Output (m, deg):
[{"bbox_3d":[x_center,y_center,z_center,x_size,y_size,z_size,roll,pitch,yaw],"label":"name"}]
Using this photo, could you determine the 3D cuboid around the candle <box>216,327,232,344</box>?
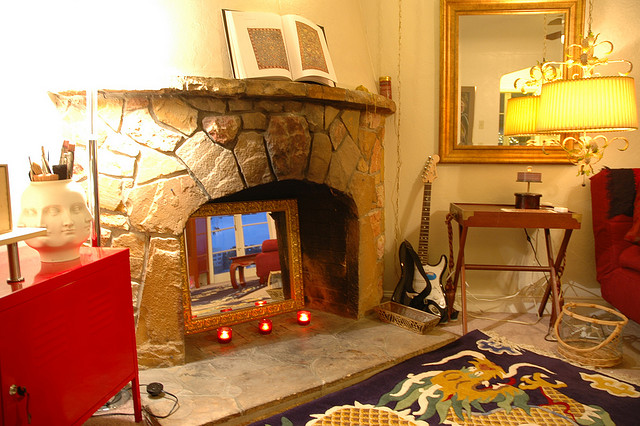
[{"bbox_3d":[-0.640,0.815,2.856,0.103,0.083,0.095,0,8,-4],"label":"candle"}]

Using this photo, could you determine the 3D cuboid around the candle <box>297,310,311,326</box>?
[{"bbox_3d":[-0.122,0.762,3.079,0.094,0.085,0.094,0,6,32],"label":"candle"}]

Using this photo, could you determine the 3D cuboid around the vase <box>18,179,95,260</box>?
[{"bbox_3d":[-1.239,0.032,1.975,0.292,0.368,0.290,-3,4,40],"label":"vase"}]

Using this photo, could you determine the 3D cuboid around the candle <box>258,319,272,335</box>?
[{"bbox_3d":[-0.393,0.792,2.973,0.100,0.077,0.095,0,1,-5],"label":"candle"}]

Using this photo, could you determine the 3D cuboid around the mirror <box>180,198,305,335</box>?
[{"bbox_3d":[-0.590,0.388,3.044,0.936,0.739,0.046,-10,7,-36],"label":"mirror"}]

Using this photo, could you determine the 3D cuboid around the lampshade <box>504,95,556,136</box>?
[{"bbox_3d":[1.471,-0.708,3.153,0.354,0.330,0.346,5,3,11],"label":"lampshade"}]

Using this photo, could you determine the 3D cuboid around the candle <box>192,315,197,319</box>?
[{"bbox_3d":[-0.868,0.718,2.940,0.025,0.015,0.012,-1,-2,-23],"label":"candle"}]

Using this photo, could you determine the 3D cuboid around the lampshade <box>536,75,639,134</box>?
[{"bbox_3d":[1.747,-0.634,2.751,0.452,0.226,0.431,-3,7,-20],"label":"lampshade"}]

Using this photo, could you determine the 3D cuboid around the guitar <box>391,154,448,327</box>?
[{"bbox_3d":[0.772,0.197,3.186,0.403,1.211,0.457,4,15,22],"label":"guitar"}]
